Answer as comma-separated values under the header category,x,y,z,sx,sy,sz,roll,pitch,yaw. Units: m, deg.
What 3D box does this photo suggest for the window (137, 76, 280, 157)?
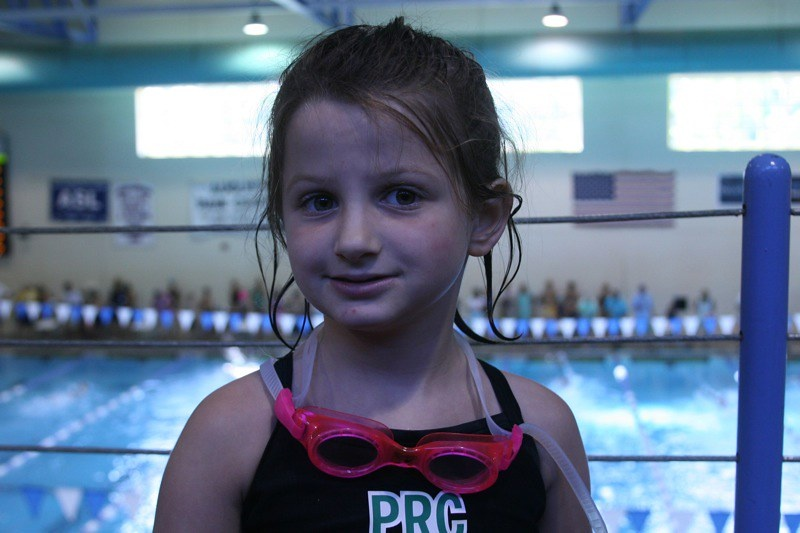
category,x,y,z,sx,sy,sz,roll,pitch,yaw
window,-1.962,-1.522,9.611,1.475,0.890,0.199,0,16,3

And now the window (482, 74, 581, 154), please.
category,x,y,z,sx,sy,sz,roll,pitch,yaw
window,1.555,-1.731,11.214,0.085,0.919,1.438,-10,13,-44
